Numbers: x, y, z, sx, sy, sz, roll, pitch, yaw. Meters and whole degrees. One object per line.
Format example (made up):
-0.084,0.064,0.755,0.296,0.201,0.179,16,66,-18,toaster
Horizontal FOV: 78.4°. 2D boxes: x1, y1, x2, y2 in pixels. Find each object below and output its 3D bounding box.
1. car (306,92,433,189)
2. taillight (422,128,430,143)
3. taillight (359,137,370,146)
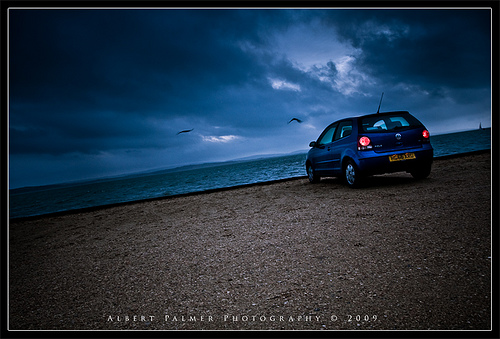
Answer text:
3.404,-0.684,9.453,2.435,1.866,3.962,-2,4,-9,car
4.384,-0.826,7.616,0.133,0.325,0.262,-1,14,35,taillight
2.897,-0.706,7.705,0.244,0.207,0.095,-4,12,19,taillight
